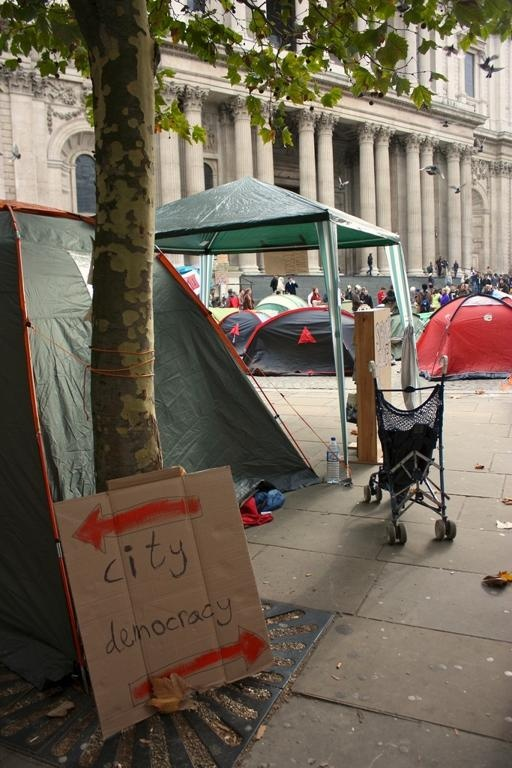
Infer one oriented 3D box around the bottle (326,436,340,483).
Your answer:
[{"bbox_3d":[0.725,0.705,6.220,0.123,0.422,0.344,-2,7,6],"label":"bottle"}]
